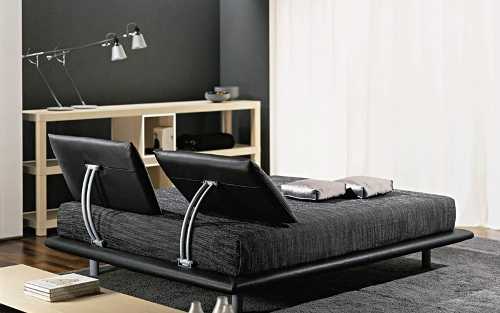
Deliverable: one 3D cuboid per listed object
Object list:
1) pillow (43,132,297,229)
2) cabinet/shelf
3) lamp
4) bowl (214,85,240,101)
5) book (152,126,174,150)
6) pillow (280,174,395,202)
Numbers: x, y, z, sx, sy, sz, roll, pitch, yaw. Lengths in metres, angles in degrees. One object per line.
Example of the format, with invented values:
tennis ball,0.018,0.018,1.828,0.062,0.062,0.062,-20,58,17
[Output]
pillow,-0.629,0.153,3.411,1.861,0.596,0.489,4,8,28
cabinet/shelf,-1.305,0.019,6.206,3.277,1.298,0.771,-7,5,-40
lamp,-1.994,-1.183,5.719,1.478,1.184,0.799,-5,9,-33
bowl,-0.334,-0.951,6.770,0.288,0.137,0.258,0,3,2
book,-1.132,-0.250,6.027,0.347,0.300,0.199,5,6,43
pillow,0.810,0.278,4.077,0.681,0.137,0.357,1,-1,-30
